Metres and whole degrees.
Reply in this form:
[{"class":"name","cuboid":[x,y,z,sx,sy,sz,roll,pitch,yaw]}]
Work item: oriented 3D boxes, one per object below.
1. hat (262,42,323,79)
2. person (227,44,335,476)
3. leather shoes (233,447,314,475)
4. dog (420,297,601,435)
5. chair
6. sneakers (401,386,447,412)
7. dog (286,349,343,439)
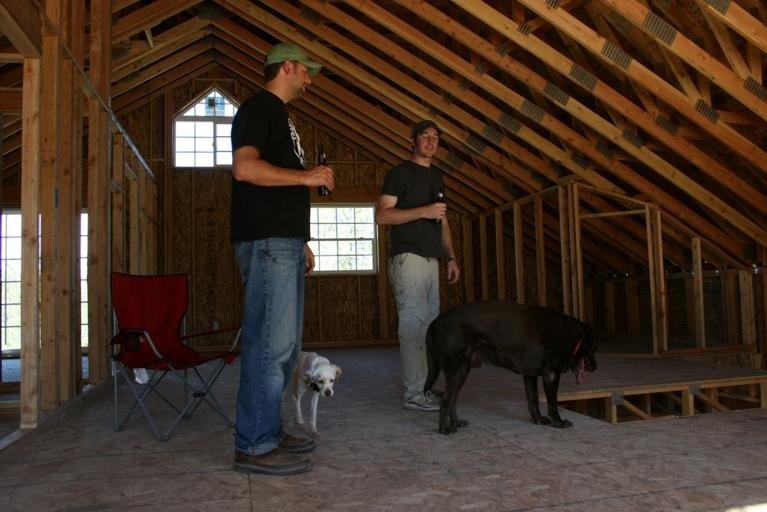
[{"class":"hat","cuboid":[-0.553,-1.242,4.759,0.306,0.169,0.209,3,9,-17]},{"class":"person","cuboid":[-0.642,0.001,4.633,0.562,2.652,0.372,1,-2,-13]},{"class":"leather shoes","cuboid":[-0.657,1.276,4.581,0.346,0.129,0.197,0,-8,-1]},{"class":"dog","cuboid":[0.919,0.796,5.294,1.223,0.941,0.413,3,1,-7]},{"class":"chair","cuboid":[-1.455,0.693,5.322,0.801,1.195,0.818,-1,-5,-21]},{"class":"sneakers","cuboid":[0.310,1.098,5.639,0.330,0.272,0.138,-1,-5,9]},{"class":"dog","cuboid":[-0.552,0.932,5.330,0.232,0.547,0.792,5,8,-30]}]
